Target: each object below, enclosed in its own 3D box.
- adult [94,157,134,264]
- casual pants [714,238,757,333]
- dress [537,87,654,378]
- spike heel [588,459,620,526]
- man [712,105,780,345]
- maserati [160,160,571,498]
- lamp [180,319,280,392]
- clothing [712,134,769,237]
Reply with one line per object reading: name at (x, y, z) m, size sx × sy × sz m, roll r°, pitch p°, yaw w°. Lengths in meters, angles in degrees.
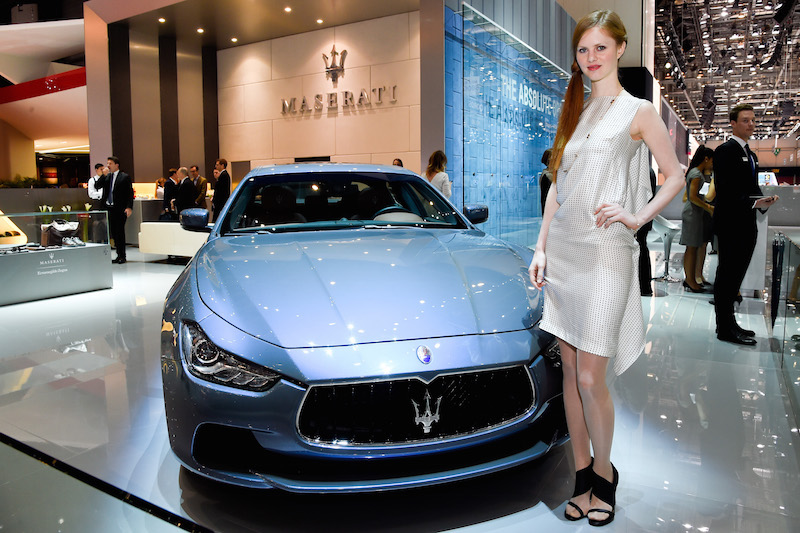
adult at (-5.164, -1.033, 8.791) m, size 0.570 × 1.874 × 0.505 m, roll 0°, pitch 3°, yaw 12°
casual pants at (2.940, 0.170, 4.256) m, size 0.241 × 0.946 × 0.318 m, roll -10°, pitch 6°, yaw -41°
dress at (0.811, -0.183, 2.021) m, size 0.362 × 1.027 × 0.312 m, roll 7°, pitch 12°, yaw 34°
spike heel at (0.884, 0.980, 2.103) m, size 0.092 × 0.107 × 0.286 m, roll 0°, pitch 4°, yaw 17°
man at (3.027, -0.368, 4.209) m, size 0.510 × 1.994 × 0.532 m, roll -3°, pitch 4°, yaw -34°
maserati at (-0.222, 0.274, 2.444) m, size 1.181 × 0.800 × 2.446 m, roll -2°, pitch 9°, yaw -8°
lamp at (-0.685, 0.364, 1.981) m, size 0.328 × 0.131 × 0.243 m, roll 21°, pitch 5°, yaw 23°
clothing at (2.923, -0.689, 4.206) m, size 0.372 × 0.844 × 0.358 m, roll 5°, pitch 11°, yaw 27°
